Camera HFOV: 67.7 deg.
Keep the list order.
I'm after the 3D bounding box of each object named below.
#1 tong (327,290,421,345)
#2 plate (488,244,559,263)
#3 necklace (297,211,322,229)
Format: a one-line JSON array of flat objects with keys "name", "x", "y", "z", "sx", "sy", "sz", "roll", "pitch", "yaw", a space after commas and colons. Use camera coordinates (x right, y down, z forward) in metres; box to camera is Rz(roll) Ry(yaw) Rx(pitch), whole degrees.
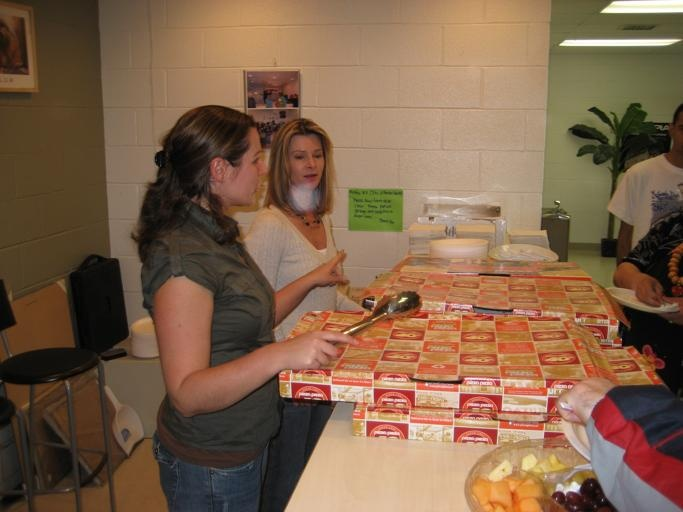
[{"name": "tong", "x": 0.067, "y": 0.134, "z": 1.223, "sx": 0.281, "sy": 0.070, "sz": 0.073, "roll": -17, "pitch": 7, "yaw": -41}, {"name": "plate", "x": 0.694, "y": -0.009, "z": 1.934, "sx": 0.246, "sy": 0.040, "sz": 0.281, "roll": 3, "pitch": 12, "yaw": 13}, {"name": "necklace", "x": -0.136, "y": -0.146, "z": 2.108, "sx": 0.076, "sy": 0.030, "sz": 0.092, "roll": 2, "pitch": -13, "yaw": -3}]
